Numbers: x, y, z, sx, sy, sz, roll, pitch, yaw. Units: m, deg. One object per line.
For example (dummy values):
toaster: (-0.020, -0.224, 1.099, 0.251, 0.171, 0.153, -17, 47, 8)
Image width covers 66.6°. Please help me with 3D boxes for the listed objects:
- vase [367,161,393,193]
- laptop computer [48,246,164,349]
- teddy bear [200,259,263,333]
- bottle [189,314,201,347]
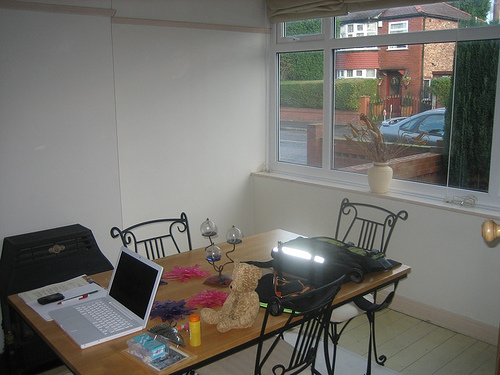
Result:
vase: (1.236, -0.104, 3.594, 0.258, 0.327, 0.254, 3, 10, 33)
laptop computer: (-0.733, 0.599, 1.948, 0.470, 0.324, 0.504, -3, 12, -42)
teddy bear: (-0.074, 0.546, 1.945, 0.213, 0.338, 0.282, 5, 0, 45)
bottle: (-0.267, 0.667, 1.828, 0.059, 0.157, 0.098, -6, 13, -11)
